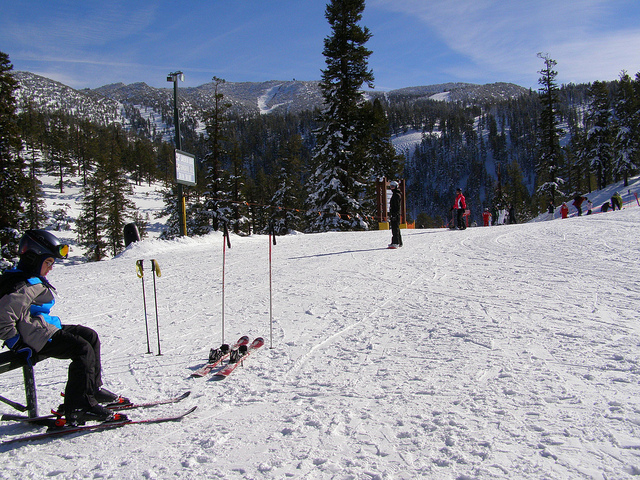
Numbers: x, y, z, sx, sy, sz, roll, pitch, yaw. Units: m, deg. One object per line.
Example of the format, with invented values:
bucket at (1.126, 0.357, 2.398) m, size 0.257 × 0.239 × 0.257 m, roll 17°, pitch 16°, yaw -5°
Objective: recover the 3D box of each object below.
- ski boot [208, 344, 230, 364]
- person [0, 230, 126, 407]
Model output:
ski boot at (-1.957, 2.212, 11.348) m, size 0.170 × 0.241 × 0.564 m, roll 5°, pitch 2°, yaw 14°
person at (-4.442, 1.391, 9.794) m, size 1.464 × 3.159 × 0.530 m, roll -4°, pitch 7°, yaw -7°
